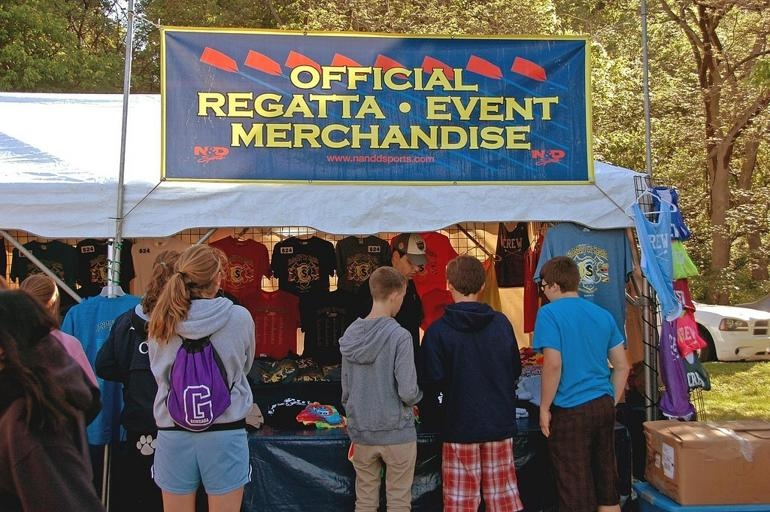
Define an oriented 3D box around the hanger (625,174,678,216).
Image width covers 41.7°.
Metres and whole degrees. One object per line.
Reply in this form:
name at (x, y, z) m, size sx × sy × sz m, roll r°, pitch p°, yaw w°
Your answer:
hanger at (3.215, -0.740, 12.332) m, size 0.674 × 0.542 × 0.335 m, roll 0°, pitch 0°, yaw -5°
